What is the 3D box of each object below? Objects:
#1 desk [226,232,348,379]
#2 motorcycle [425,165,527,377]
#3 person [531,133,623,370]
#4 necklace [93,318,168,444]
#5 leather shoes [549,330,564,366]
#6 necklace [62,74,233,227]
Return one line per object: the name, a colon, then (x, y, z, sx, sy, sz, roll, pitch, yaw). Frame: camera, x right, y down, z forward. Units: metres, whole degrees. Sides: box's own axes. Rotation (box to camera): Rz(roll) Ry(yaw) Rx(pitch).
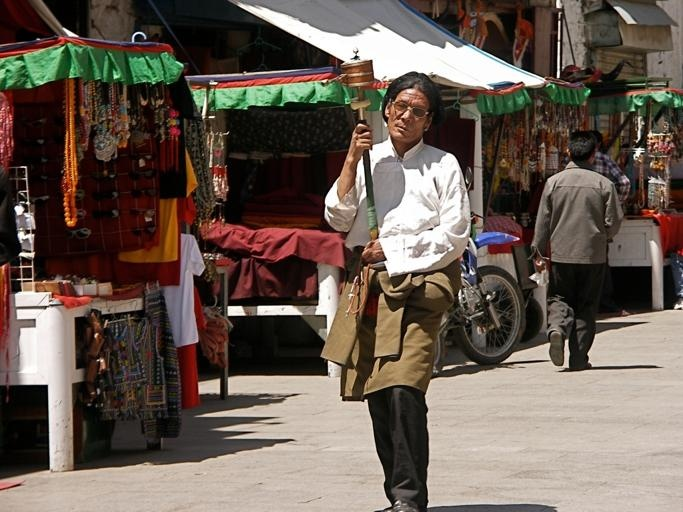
desk: (-0.381, 0.460, 12.426, 1.063, 0.870, 1.099, 0, 0, 11)
motorcycle: (1.522, 0.206, 13.311, 1.018, 1.729, 2.557, -1, 0, -4)
person: (2.289, -0.059, 12.105, 0.841, 2.290, 0.559, -2, -1, -1)
necklace: (-1.489, 0.841, 8.853, 0.490, 0.731, 0.193, 0, -4, -37)
leather shoes: (2.051, 0.891, 11.910, 0.133, 0.335, 0.138, -3, -3, 33)
necklace: (-1.520, -0.790, 9.466, 0.906, 1.300, 0.388, -1, 15, 1)
